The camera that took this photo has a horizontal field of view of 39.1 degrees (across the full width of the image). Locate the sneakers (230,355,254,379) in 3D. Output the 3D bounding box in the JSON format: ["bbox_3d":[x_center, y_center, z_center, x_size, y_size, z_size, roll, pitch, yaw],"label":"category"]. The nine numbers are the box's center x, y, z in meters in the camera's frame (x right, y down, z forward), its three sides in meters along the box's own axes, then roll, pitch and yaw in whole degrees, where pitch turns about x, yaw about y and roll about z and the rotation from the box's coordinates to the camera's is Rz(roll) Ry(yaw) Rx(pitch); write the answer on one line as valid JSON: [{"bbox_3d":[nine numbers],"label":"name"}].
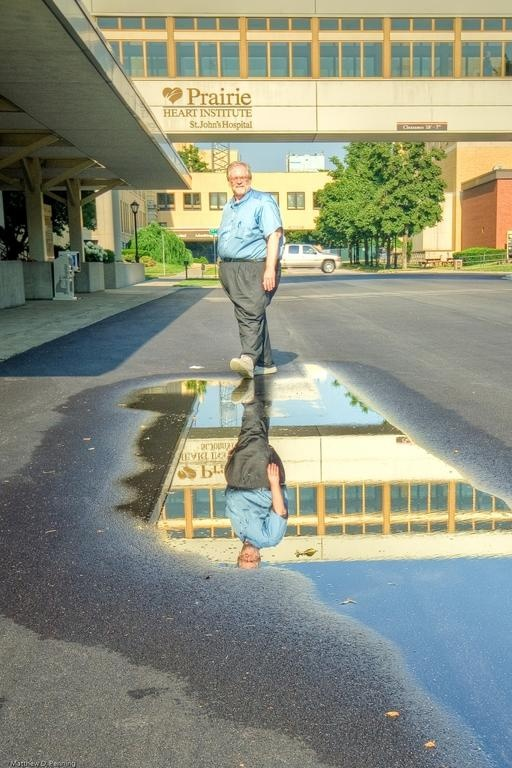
[{"bbox_3d":[-0.135,-0.191,7.725,0.139,0.169,0.376,2,-22,15],"label":"sneakers"}]

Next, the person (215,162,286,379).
[{"bbox_3d":[-0.061,-1.120,7.397,0.663,2.230,1.239,-1,8,1],"label":"person"}]
